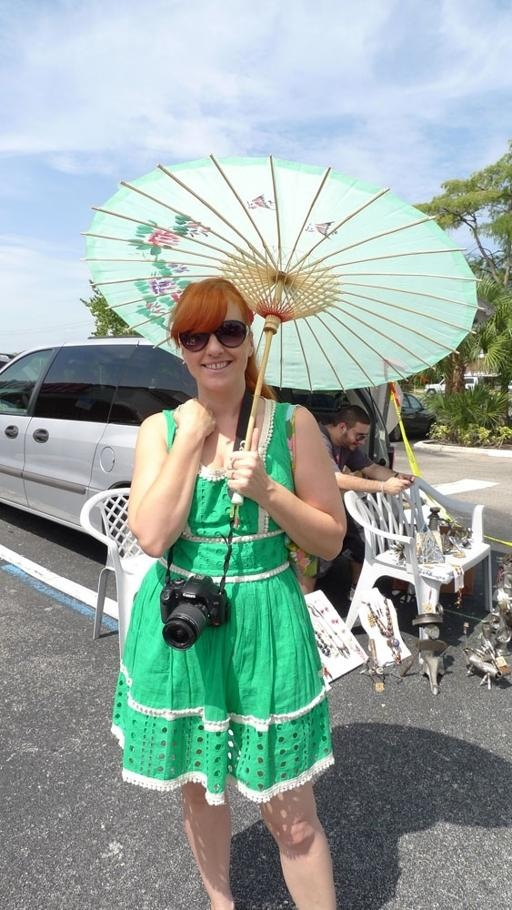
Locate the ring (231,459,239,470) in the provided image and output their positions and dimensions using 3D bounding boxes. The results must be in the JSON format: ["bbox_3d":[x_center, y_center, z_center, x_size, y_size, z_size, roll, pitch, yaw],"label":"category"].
[{"bbox_3d":[-0.040,0.018,1.101,0.013,0.020,0.006,18,4,43],"label":"ring"}]

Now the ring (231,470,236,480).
[{"bbox_3d":[-0.043,0.036,1.093,0.006,0.019,0.018,-3,6,-28],"label":"ring"}]

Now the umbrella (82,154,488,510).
[{"bbox_3d":[0.155,-0.480,1.772,0.859,0.962,0.656,6,45,14],"label":"umbrella"}]

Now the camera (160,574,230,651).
[{"bbox_3d":[-0.128,0.300,1.093,0.120,0.098,0.145,3,17,6],"label":"camera"}]

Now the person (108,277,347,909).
[{"bbox_3d":[-0.050,0.380,1.255,0.501,1.532,0.344,-3,5,-23],"label":"person"}]

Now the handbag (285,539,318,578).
[{"bbox_3d":[0.119,0.237,1.343,0.024,0.087,0.083,-26,34,-4],"label":"handbag"}]

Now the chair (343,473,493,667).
[{"bbox_3d":[1.041,0.630,3.668,0.718,0.877,0.990,3,10,44],"label":"chair"}]
